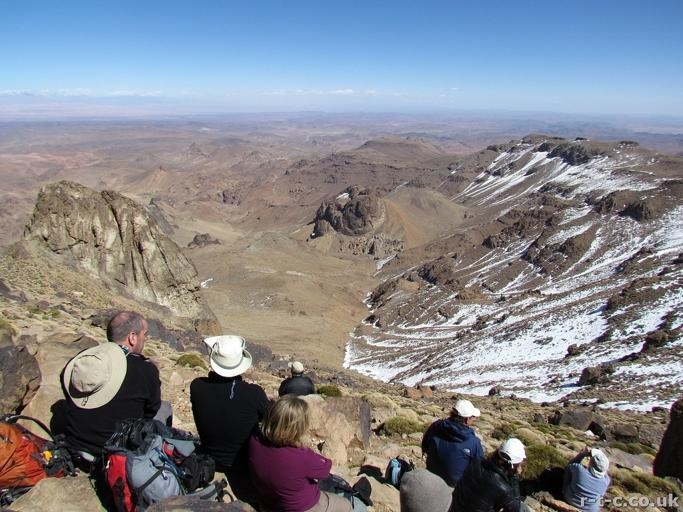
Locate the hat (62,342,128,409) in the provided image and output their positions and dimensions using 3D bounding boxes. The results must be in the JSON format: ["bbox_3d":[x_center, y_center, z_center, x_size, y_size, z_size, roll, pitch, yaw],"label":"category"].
[{"bbox_3d":[-4.514,2.216,8.436,1.380,1.021,0.384,5,-19,16],"label":"hat"}]

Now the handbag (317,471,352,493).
[{"bbox_3d":[-0.096,4.326,8.842,0.501,0.123,0.356,16,6,1],"label":"handbag"}]

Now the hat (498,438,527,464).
[{"bbox_3d":[3.189,3.540,8.556,0.480,0.241,0.547,2,11,12],"label":"hat"}]
